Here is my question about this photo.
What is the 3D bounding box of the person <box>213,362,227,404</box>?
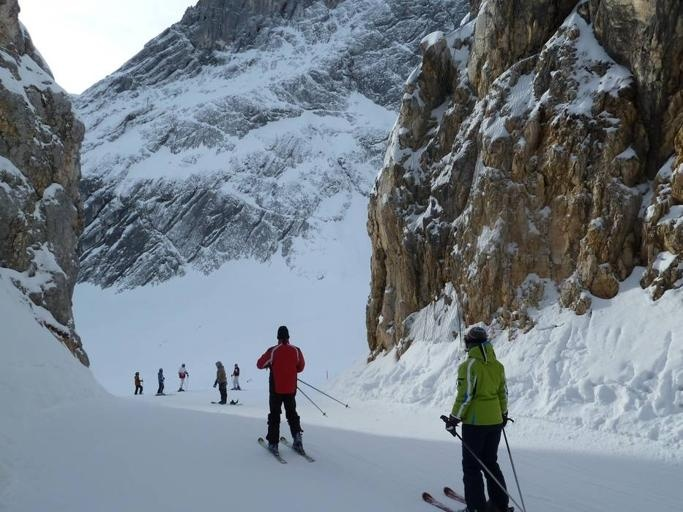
[{"bbox_3d":[-4.960,5.091,36.470,0.402,1.460,2.102,-8,4,-9],"label":"person"}]

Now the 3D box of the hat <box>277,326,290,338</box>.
[{"bbox_3d":[-1.727,2.310,26.538,0.276,0.410,0.345,2,-9,-21],"label":"hat"}]

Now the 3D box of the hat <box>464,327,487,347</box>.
[{"bbox_3d":[3.820,2.285,25.095,0.436,0.726,0.617,6,7,-11],"label":"hat"}]

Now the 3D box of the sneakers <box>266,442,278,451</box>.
[{"bbox_3d":[-2.002,5.604,25.916,0.283,0.246,0.228,-12,5,-11],"label":"sneakers"}]
